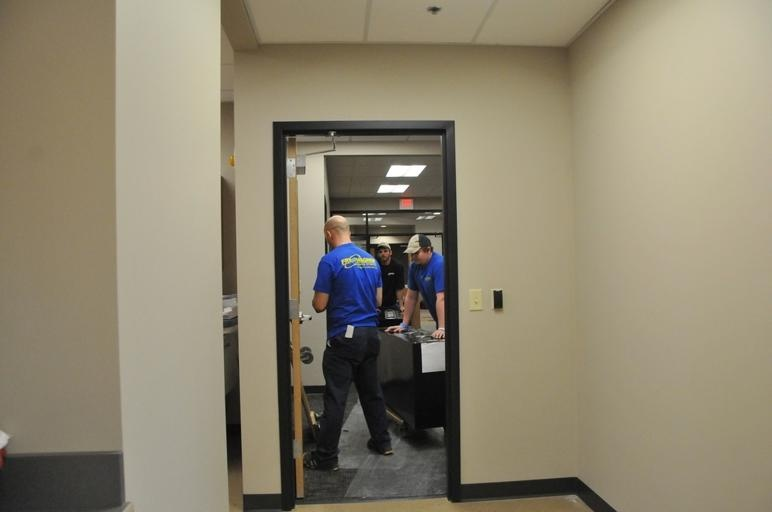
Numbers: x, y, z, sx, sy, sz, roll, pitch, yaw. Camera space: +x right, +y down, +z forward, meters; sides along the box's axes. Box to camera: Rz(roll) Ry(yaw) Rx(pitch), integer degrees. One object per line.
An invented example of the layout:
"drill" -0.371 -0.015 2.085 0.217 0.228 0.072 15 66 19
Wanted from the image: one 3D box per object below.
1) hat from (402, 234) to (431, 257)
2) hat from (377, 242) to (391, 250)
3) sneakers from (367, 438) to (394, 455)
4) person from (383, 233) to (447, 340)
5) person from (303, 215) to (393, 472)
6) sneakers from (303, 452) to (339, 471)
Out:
"hat" 0.243 -0.101 4.545 0.202 0.124 0.134 -2 0 -23
"hat" -0.030 -0.114 6.406 0.129 0.097 0.171 -2 0 2
"sneakers" -0.040 1.300 4.045 0.077 0.091 0.209 -1 4 -31
"person" 0.329 0.233 4.710 0.489 0.758 0.515 -8 8 -44
"person" -0.244 0.643 3.825 0.620 1.443 0.258 -5 7 -41
"sneakers" -0.429 1.313 3.781 0.218 0.098 0.103 4 -1 15
